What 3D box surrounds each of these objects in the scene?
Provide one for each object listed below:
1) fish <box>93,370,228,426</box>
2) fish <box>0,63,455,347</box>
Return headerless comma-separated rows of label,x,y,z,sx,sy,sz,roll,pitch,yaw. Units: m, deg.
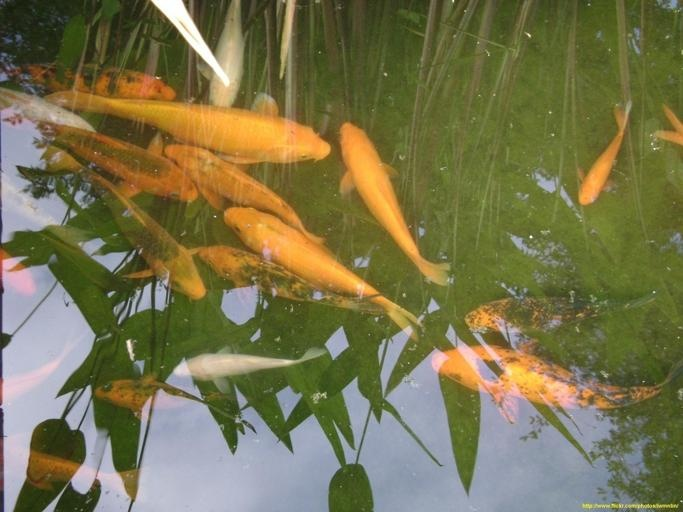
fish,-0.508,0.369,2.017,0.309,0.098,0.018,2,7,-1
fish,-0.273,-0.109,2.040,0.749,0.226,0.253,41,-16,-1
